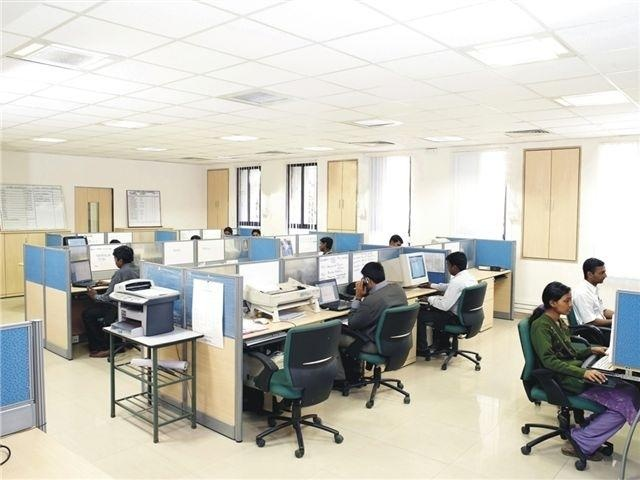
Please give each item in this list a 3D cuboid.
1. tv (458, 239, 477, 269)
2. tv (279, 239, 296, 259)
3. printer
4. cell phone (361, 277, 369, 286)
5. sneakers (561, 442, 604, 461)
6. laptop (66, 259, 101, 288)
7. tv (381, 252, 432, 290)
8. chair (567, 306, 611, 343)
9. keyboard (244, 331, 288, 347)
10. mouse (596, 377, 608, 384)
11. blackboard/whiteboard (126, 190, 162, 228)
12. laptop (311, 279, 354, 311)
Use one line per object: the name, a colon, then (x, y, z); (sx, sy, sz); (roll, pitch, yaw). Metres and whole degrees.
tv: (2.339, 0.203, 7.348); (0.303, 0.489, 0.529); (-1, 2, 36)
tv: (-0.595, 0.139, 8.653); (0.078, 0.303, 0.331); (-4, -4, 43)
printer: (-1.612, 0.612, 4.255); (0.566, 0.445, 0.457); (6, 10, 33)
cell phone: (0.489, 0.446, 4.969); (0.023, 0.078, 0.081); (-1, 7, -30)
sneakers: (2.201, 1.774, 3.863); (0.273, 0.101, 0.155); (-2, 5, 24)
laptop: (-3.087, 0.436, 6.038); (0.302, 0.258, 0.367); (1, 1, 15)
tv: (1.166, 0.395, 6.194); (0.509, 0.363, 0.514); (0, 3, 40)
chair: (2.744, 0.863, 4.785); (0.388, 0.446, 0.351); (1, 2, 40)
keyboard: (-0.493, 0.882, 4.144); (0.288, 0.063, 0.263); (0, -4, -23)
mouse: (2.146, 1.076, 3.508); (0.015, 0.048, 0.051); (36, -1, 45)
blackboard/whiteboard: (-4.633, -0.836, 12.055); (0.111, 1.041, 1.048); (1, 3, 45)
laptop: (0.139, 0.639, 5.271); (0.254, 0.313, 0.421); (-11, -10, 37)
